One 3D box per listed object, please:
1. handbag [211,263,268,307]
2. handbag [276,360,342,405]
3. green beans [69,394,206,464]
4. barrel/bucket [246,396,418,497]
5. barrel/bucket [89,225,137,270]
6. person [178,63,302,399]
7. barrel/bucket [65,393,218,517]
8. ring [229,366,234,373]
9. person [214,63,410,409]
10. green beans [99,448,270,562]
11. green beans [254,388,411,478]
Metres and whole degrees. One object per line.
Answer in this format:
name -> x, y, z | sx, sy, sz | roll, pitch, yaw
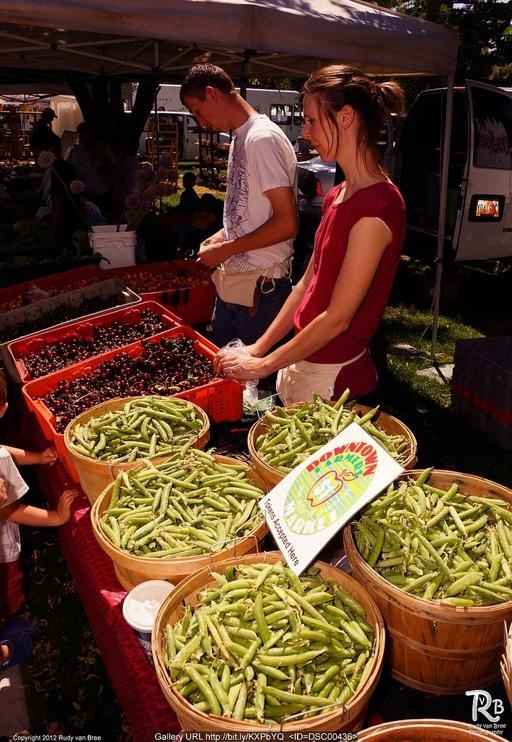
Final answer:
handbag -> -0.133, -0.605, 3.560 | 0.303, 0.296, 0.309 | -7, 16, -30
handbag -> 0.226, 0.047, 2.469 | 0.282, 0.221, 0.242 | 4, 11, 3
green beans -> -0.530, 0.227, 2.330 | 0.481, 0.231, 0.530 | -12, 16, -35
barrel/bucket -> 0.264, 0.171, 2.119 | 0.765, 0.304, 0.619 | -3, 12, -25
barrel/bucket -> -1.601, -1.351, 5.883 | 0.562, 0.517, 0.415 | -7, 15, -27
person -> -0.044, -0.748, 3.501 | 0.756, 2.049, 0.671 | -7, 15, -29
barrel/bucket -> -0.530, 0.261, 2.302 | 0.576, 0.440, 0.621 | -2, 14, 0
ring -> -0.106, -0.006, 2.288 | 0.026, 0.025, 0.026 | -12, -3, -1
person -> 0.275, -0.451, 2.240 | 0.650, 1.475, 0.652 | 7, 21, 13
green beans -> -0.275, 0.462, 1.799 | 0.465, 0.233, 0.528 | -9, 16, -33
green beans -> 0.257, 0.219, 1.982 | 0.367, 0.119, 0.365 | -4, 21, 1
